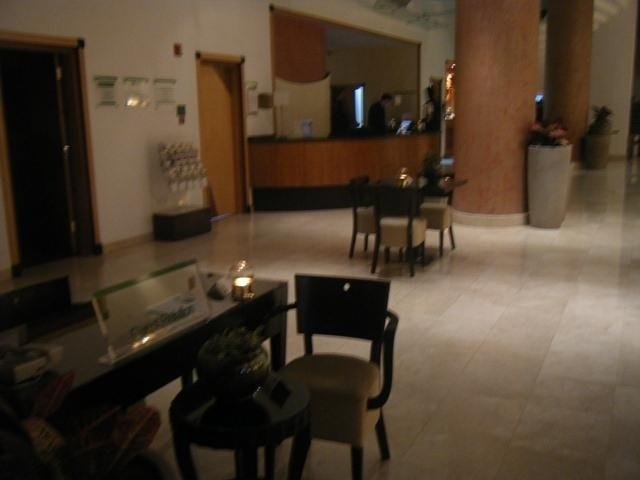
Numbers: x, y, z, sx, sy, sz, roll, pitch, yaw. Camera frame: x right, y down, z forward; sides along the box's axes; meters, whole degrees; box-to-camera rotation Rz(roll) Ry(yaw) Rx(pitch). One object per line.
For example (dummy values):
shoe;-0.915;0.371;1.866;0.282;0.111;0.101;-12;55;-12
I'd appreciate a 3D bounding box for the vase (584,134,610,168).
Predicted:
vase;8.155;-2.615;14.529;0.803;0.981;0.847;0;6;13

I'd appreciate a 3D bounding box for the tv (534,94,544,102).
tv;8.752;-5.655;19.444;0.224;0.331;1.450;4;16;26

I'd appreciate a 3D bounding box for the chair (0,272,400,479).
chair;-0.215;0.603;2.439;0.996;0.739;1.409;6;14;26

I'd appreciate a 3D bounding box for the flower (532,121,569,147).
flower;3.649;-1.712;7.808;0.474;0.205;0.496;7;21;24

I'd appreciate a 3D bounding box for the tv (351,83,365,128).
tv;1.421;-4.962;18.001;0.424;1.483;0.469;-2;13;3

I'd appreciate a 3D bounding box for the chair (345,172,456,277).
chair;1.032;-0.235;6.227;1.045;1.101;1.423;7;21;26
